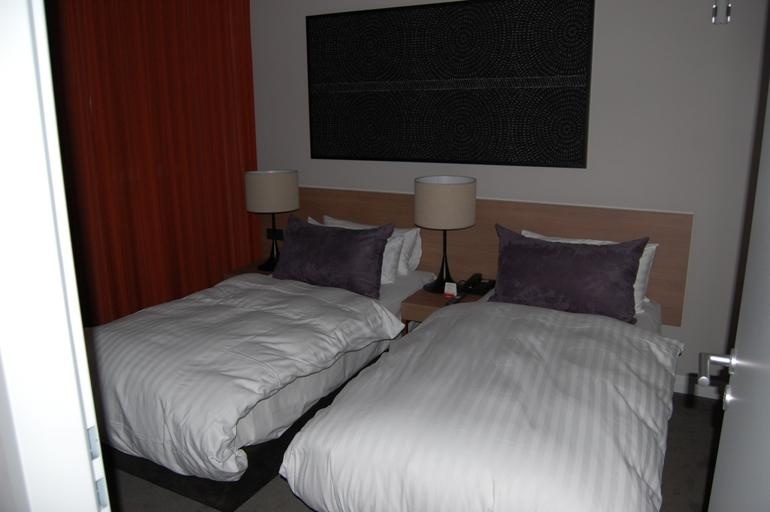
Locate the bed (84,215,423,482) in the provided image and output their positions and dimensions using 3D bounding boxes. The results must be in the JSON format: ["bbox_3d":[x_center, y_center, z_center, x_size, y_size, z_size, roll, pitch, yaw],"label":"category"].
[{"bbox_3d":[-1.031,0.607,3.480,2.008,0.498,1.888,0,13,29],"label":"bed"}]

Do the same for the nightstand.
[{"bbox_3d":[0.320,0.334,3.681,0.281,0.230,0.430,9,18,30],"label":"nightstand"}]

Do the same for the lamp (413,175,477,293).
[{"bbox_3d":[0.437,-0.176,3.915,0.453,0.800,0.466,5,17,15],"label":"lamp"}]

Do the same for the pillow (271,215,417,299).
[{"bbox_3d":[-0.383,0.006,3.704,1.098,0.475,0.470,8,29,21],"label":"pillow"}]

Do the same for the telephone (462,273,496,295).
[{"bbox_3d":[0.667,0.217,3.834,0.162,0.075,0.217,4,17,24],"label":"telephone"}]
